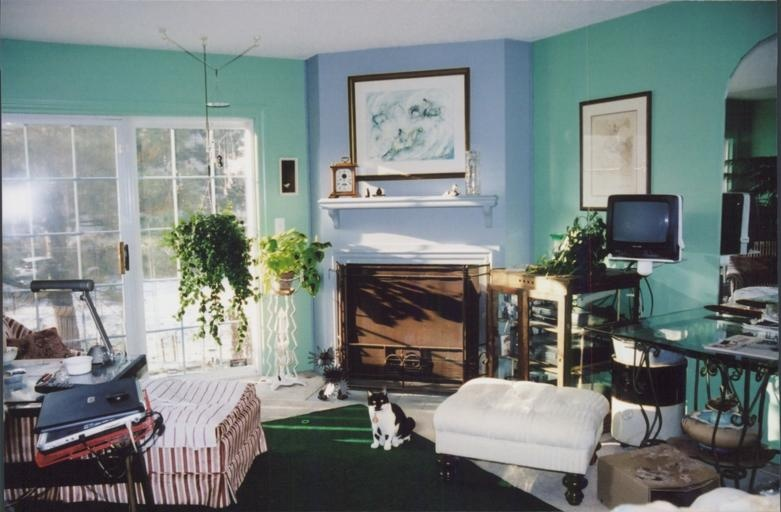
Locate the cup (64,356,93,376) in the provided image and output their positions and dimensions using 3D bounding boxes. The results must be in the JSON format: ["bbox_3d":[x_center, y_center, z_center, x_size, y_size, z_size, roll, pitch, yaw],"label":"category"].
[{"bbox_3d":[-2.068,0.722,4.147,0.143,0.064,0.144,0,-1,0],"label":"cup"}]

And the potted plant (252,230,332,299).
[{"bbox_3d":[-0.936,0.156,5.890,0.574,0.352,0.729,1,-8,-33],"label":"potted plant"}]

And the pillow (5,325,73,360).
[{"bbox_3d":[-2.866,0.703,5.048,0.346,0.145,0.264,-1,-2,35],"label":"pillow"}]

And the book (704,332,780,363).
[{"bbox_3d":[2.285,0.594,4.033,0.401,0.118,0.324,-1,3,30],"label":"book"}]

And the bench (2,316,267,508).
[{"bbox_3d":[-1.838,1.098,4.317,1.351,0.520,1.324,0,-3,-14],"label":"bench"}]

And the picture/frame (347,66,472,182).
[{"bbox_3d":[0.215,-1.226,5.617,1.136,0.892,0.088,1,4,5],"label":"picture/frame"}]

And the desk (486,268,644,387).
[{"bbox_3d":[1.508,0.549,5.439,1.018,1.009,1.015,9,14,43],"label":"desk"}]

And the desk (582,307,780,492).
[{"bbox_3d":[2.156,0.999,4.313,1.199,0.712,1.208,4,9,41],"label":"desk"}]

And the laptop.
[{"bbox_3d":[-1.710,0.881,3.490,0.424,0.097,0.411,-6,14,-5],"label":"laptop"}]

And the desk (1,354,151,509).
[{"bbox_3d":[-1.893,1.065,3.957,0.991,1.025,0.854,6,16,-17],"label":"desk"}]
